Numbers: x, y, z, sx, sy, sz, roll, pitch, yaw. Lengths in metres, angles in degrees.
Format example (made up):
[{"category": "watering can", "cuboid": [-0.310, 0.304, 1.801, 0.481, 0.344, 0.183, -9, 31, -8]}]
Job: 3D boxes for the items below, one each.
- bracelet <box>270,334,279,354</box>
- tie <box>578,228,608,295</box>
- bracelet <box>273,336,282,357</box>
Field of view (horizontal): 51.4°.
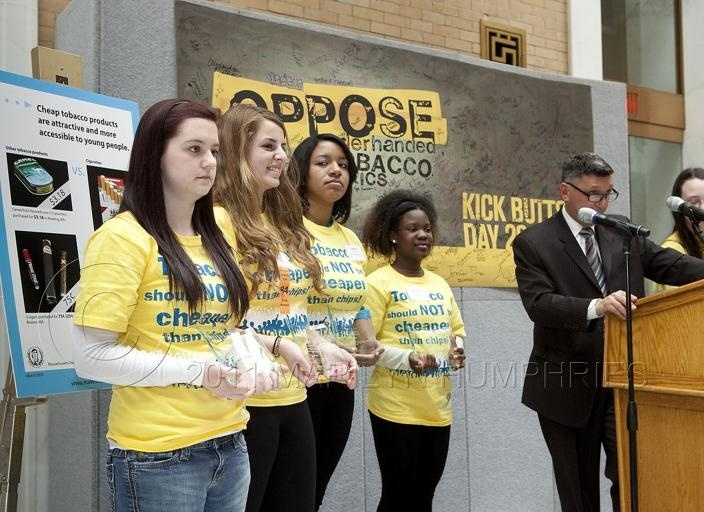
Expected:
[{"category": "bracelet", "cuboid": [-0.297, 0.348, 2.881, 0.019, 0.054, 0.048, 4, 12, 8]}, {"category": "tie", "cuboid": [1.316, 0.003, 4.001, 0.067, 0.517, 0.061, -10, -26, 10]}, {"category": "bracelet", "cuboid": [-0.283, 0.343, 2.880, 0.020, 0.059, 0.053, 7, -9, -1]}]
